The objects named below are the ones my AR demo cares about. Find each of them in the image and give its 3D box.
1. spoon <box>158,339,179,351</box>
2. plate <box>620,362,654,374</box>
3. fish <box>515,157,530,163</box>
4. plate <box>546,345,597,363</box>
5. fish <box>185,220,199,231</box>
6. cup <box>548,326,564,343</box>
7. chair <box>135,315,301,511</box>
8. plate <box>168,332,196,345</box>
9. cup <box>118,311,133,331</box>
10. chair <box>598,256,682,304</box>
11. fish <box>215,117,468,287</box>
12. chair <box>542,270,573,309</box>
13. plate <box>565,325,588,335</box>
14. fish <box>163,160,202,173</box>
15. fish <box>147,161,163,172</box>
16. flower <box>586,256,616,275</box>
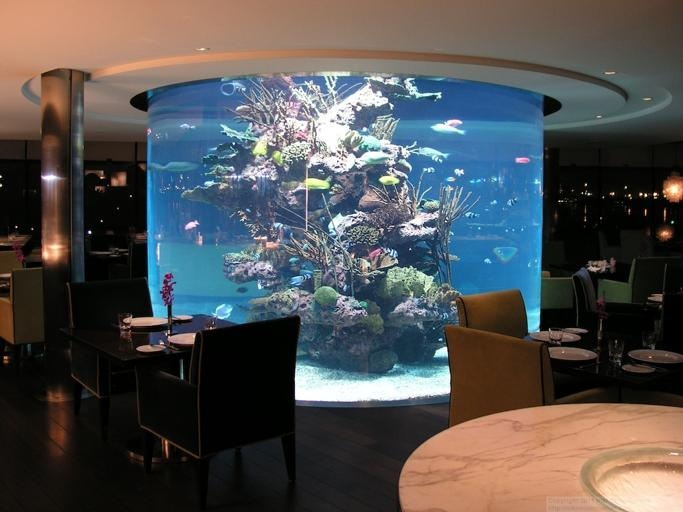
[{"bbox_3d":[-1.209,0.595,3.816,0.061,0.035,0.285,-17,18,-38],"label":"spoon"},{"bbox_3d":[1.823,0.687,3.392,0.189,0.018,0.173,4,9,23],"label":"plate"},{"bbox_3d":[1.843,-0.975,5.621,0.251,0.065,0.005,-6,12,-38],"label":"fish"},{"bbox_3d":[1.498,0.638,3.624,0.214,0.024,0.209,-4,5,-40],"label":"plate"},{"bbox_3d":[-1.500,-0.310,5.574,0.203,0.080,0.062,-16,2,26],"label":"fish"},{"bbox_3d":[1.475,0.540,3.844,0.112,0.083,0.110,0,-4,0],"label":"cup"},{"bbox_3d":[-0.665,0.895,4.023,1.125,1.387,1.276,-2,5,-44],"label":"chair"},{"bbox_3d":[-1.107,0.575,3.833,0.193,0.026,0.180,-2,8,-25],"label":"plate"},{"bbox_3d":[-1.576,0.473,4.094,0.150,0.138,0.137,-1,2,-29],"label":"cup"},{"bbox_3d":[4.158,0.330,7.717,0.719,0.851,0.692,-2,7,-22],"label":"chair"},{"bbox_3d":[-0.037,-0.634,5.524,1.868,1.282,1.887,-13,20,-10],"label":"fish"},{"bbox_3d":[3.384,0.567,8.867,0.557,0.475,0.501,-2,2,-5],"label":"chair"},{"bbox_3d":[1.795,0.572,4.199,0.126,0.021,0.114,4,6,-4],"label":"plate"},{"bbox_3d":[-1.595,-0.897,5.587,0.370,0.106,0.128,4,44,24],"label":"fish"},{"bbox_3d":[-1.982,-0.942,5.830,0.088,0.074,0.345,8,4,-36],"label":"fish"},{"bbox_3d":[4.750,0.174,10.031,0.494,0.219,0.602,0,0,7],"label":"flower"}]
